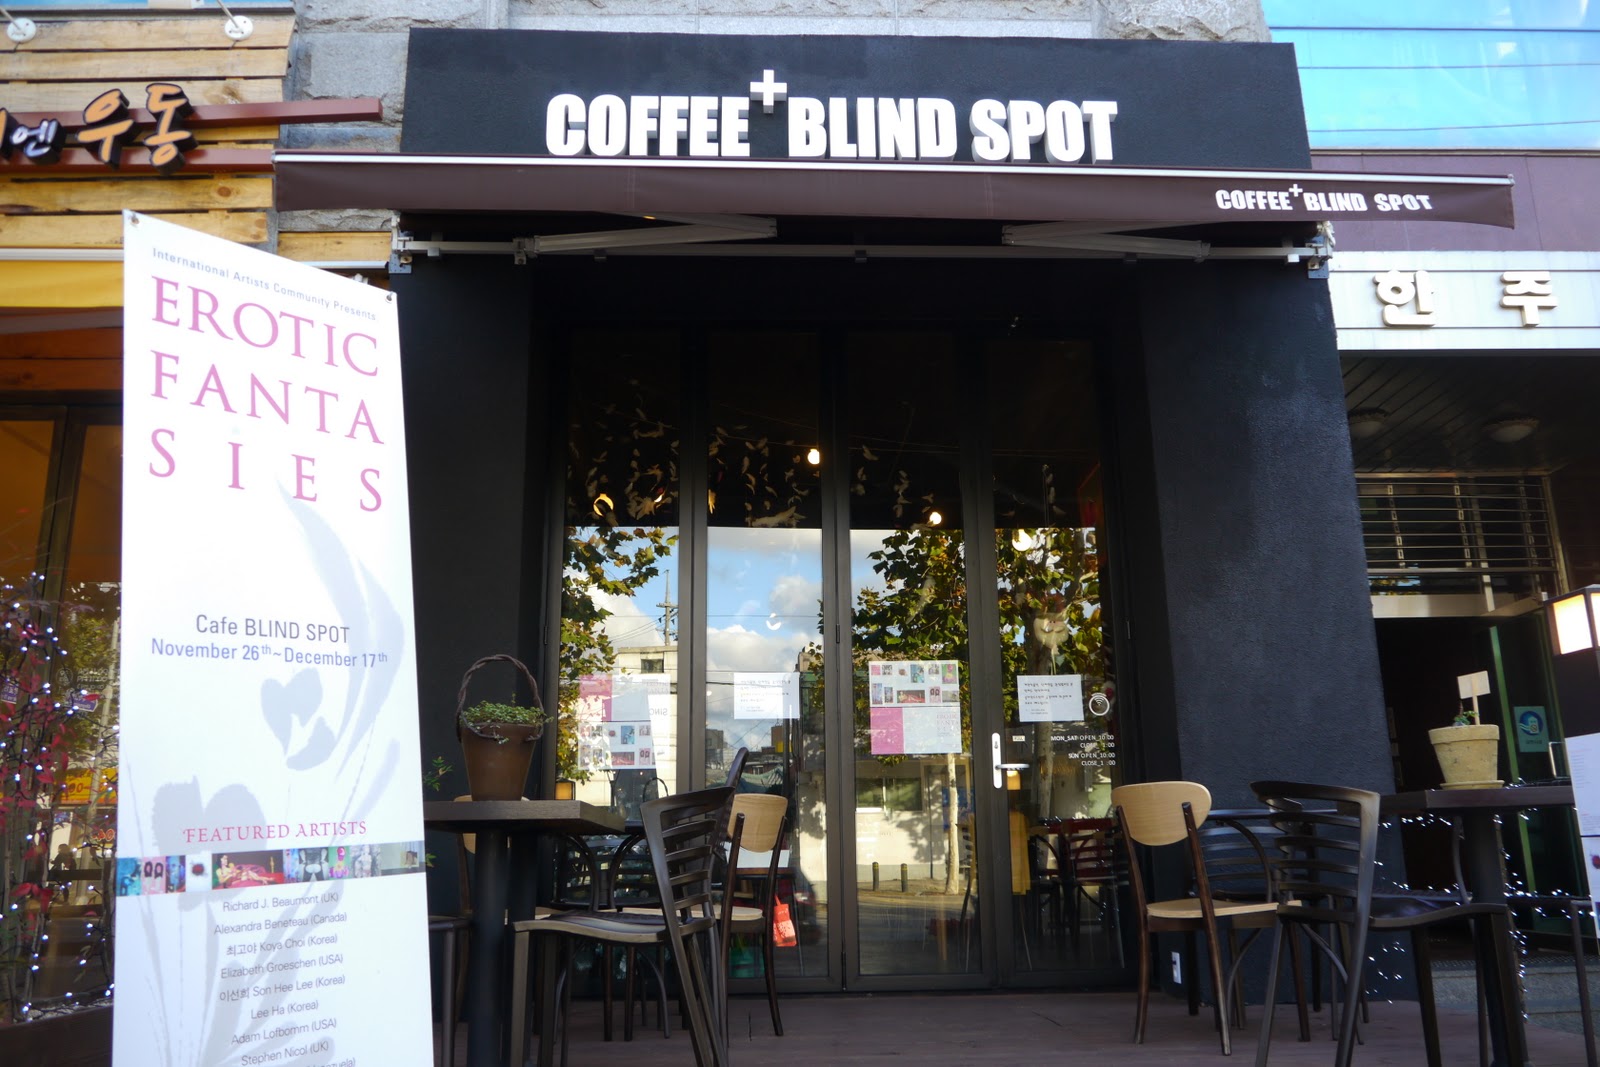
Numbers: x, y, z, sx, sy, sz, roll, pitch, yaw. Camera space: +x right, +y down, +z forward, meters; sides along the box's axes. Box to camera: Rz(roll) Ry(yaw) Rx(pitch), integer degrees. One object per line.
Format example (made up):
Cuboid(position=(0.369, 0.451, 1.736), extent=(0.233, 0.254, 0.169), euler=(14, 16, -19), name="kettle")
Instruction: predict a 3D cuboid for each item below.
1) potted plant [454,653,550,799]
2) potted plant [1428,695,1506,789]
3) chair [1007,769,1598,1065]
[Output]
Cuboid(position=(-1.282, 0.812, 5.862), extent=(0.416, 0.583, 0.377), euler=(-7, -18, 22), name="potted plant")
Cuboid(position=(3.109, 1.016, 6.380), extent=(0.331, 0.347, 0.335), euler=(13, -20, -43), name="potted plant")
Cuboid(position=(2.597, 1.733, 6.228), extent=(1.001, 1.491, 0.995), euler=(0, -22, 3), name="chair")
